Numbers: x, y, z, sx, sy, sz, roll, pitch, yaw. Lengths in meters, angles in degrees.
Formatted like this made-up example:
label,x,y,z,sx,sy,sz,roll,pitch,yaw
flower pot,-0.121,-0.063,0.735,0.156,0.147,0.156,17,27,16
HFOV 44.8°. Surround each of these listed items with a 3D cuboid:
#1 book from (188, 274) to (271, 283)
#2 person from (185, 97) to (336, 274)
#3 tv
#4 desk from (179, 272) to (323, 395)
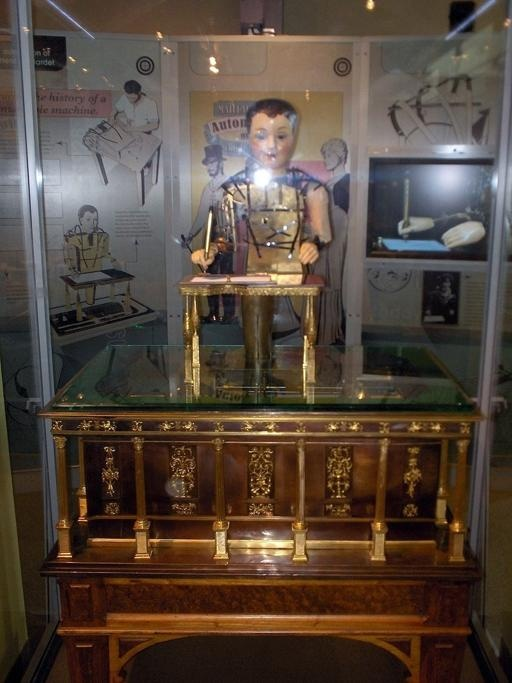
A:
label,x,y,z,sx,sy,sz,roll,pitch,yaw
book,-0.096,-0.241,2.367,0.311,0.026,0.132,-4,14,-10
person,0.023,-0.628,2.497,0.539,0.669,0.364,0,15,5
tv,0.771,-0.596,2.691,0.487,0.362,0.160,1,9,3
desk,-0.012,-0.047,2.522,0.561,0.428,0.460,1,9,0
